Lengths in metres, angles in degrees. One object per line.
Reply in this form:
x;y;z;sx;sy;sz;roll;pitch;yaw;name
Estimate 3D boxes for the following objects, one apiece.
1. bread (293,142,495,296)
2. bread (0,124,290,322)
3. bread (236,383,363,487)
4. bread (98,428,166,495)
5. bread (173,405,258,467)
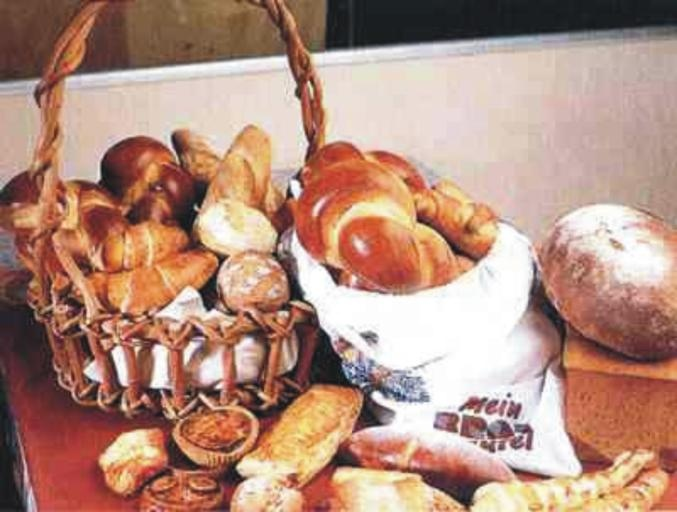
0.137;-0.088;2.115;0.500;0.316;0.176;4;25;10;bread
-0.469;-0.052;2.230;0.583;0.518;0.197;-13;-7;2;bread
-0.083;0.443;2.128;0.181;0.100;0.340;37;73;22;bread
-0.512;0.513;2.181;0.169;0.127;0.061;-43;-4;-1;bread
-0.303;0.453;2.126;0.165;0.064;0.151;0;59;9;bread
